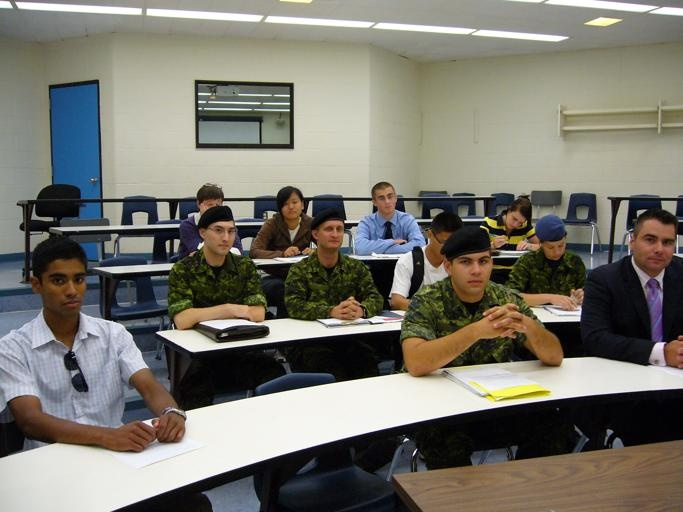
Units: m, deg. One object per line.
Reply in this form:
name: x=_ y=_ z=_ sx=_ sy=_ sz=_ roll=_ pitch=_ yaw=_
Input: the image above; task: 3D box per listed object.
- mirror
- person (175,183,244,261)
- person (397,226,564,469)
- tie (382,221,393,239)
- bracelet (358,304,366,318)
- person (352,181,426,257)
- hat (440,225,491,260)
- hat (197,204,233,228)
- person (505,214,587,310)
mirror: x=-1.692 y=-2.411 z=8.616 sx=1.228 sy=0.830 sz=0.033 roll=0 pitch=7 yaw=-9
person: x=-1.432 y=-0.310 z=5.130 sx=0.556 sy=0.787 sz=0.729 roll=2 pitch=7 yaw=-5
person: x=0.622 y=0.497 z=2.385 sx=0.766 sy=1.162 sz=0.722 roll=-1 pitch=8 yaw=12
tie: x=0.456 y=-0.253 z=5.033 sx=0.088 sy=0.157 sz=0.038 roll=0 pitch=-6 yaw=0
bracelet: x=0.128 y=0.332 z=3.105 sx=0.055 sy=0.061 sz=0.061 roll=-2 pitch=5 yaw=-20
person: x=0.434 y=-0.346 z=5.074 sx=0.719 sy=0.689 sz=0.486 roll=-3 pitch=3 yaw=-12
hat: x=0.542 y=-0.047 z=2.245 sx=0.152 sy=0.067 sz=0.172 roll=-12 pitch=2 yaw=-30
hat: x=-0.782 y=-0.248 z=3.159 sx=0.177 sy=0.070 sz=0.131 roll=-17 pitch=-9 yaw=34
person: x=1.471 y=0.172 z=3.706 sx=0.591 sy=0.884 sz=0.582 roll=1 pitch=15 yaw=16
